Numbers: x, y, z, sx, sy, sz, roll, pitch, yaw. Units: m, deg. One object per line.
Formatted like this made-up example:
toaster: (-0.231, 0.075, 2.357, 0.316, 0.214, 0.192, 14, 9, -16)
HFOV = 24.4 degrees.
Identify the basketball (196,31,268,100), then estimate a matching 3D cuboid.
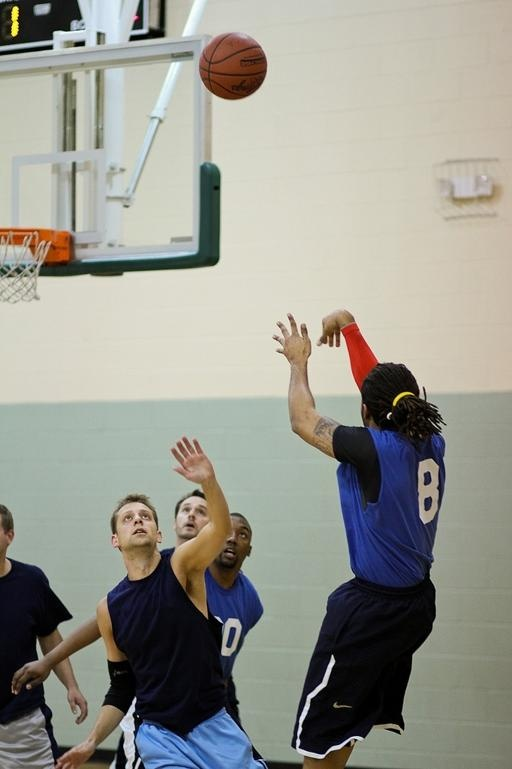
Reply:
basketball: (-0.094, -1.411, 5.266, 0.311, 0.299, 0.293, 0, 29, -6)

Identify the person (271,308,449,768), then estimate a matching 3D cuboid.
person: (0.422, 0.604, 4.643, 0.626, 1.780, 0.388, -1, -1, 6)
